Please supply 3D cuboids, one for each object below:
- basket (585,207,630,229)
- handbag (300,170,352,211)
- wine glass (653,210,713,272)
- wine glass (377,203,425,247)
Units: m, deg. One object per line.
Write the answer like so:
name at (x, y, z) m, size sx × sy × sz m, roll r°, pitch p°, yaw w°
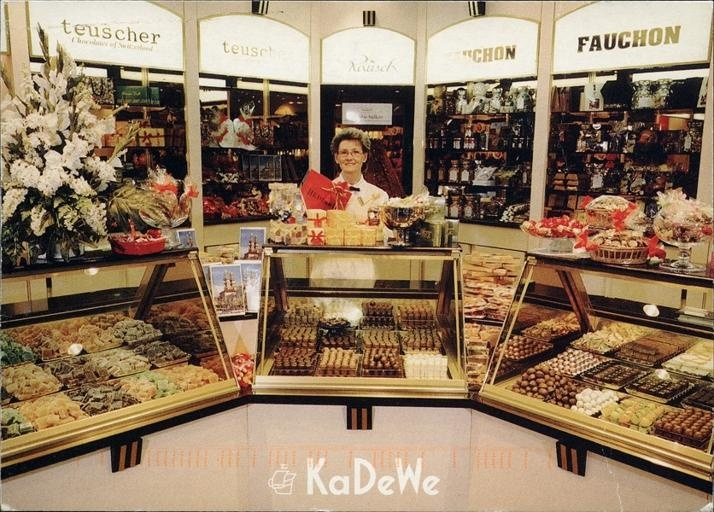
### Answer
basket at (1.441, -0.219, 2.889) m, size 0.101 × 0.133 × 0.248 m, roll -7°, pitch 16°, yaw -18°
handbag at (-0.235, -0.447, 3.624) m, size 0.342 × 0.325 × 0.140 m, roll 25°, pitch 0°, yaw -5°
wine glass at (1.604, -0.099, 2.629) m, size 0.298 × 0.317 × 0.295 m, roll 0°, pitch 4°, yaw 0°
wine glass at (0.250, -0.184, 2.943) m, size 0.268 × 0.231 × 0.245 m, roll 1°, pitch 6°, yaw -1°
